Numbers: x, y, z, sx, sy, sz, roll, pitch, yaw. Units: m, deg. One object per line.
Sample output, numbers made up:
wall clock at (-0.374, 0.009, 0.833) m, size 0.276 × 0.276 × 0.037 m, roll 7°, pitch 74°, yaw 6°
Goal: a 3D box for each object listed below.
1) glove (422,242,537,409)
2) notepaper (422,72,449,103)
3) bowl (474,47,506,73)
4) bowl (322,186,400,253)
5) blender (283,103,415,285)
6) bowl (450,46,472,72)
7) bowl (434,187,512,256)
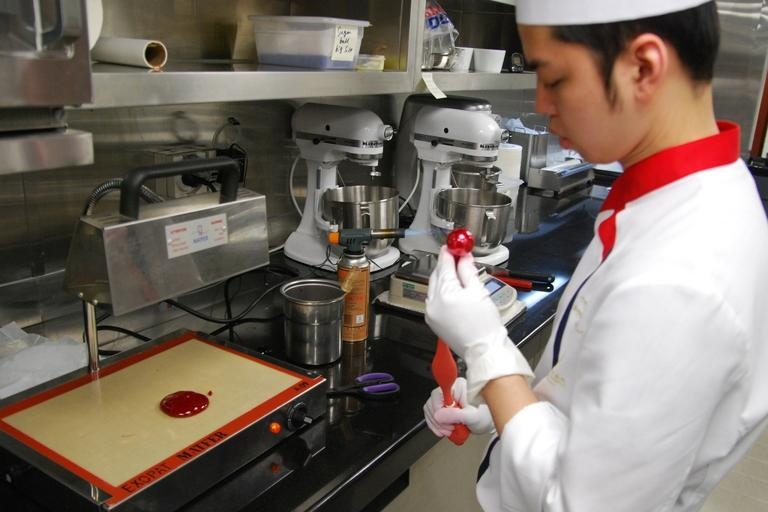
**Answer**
glove at (0.138, 0.106, 0.885) m, size 0.179 × 0.215 × 0.214 m, roll 9°, pitch 19°, yaw 13°
notepaper at (0.179, -0.598, 1.759) m, size 0.062 × 0.117 × 0.020 m, roll -14°, pitch -5°, yaw -39°
bowl at (0.454, -0.846, 2.176) m, size 0.153 × 0.096 × 0.136 m, roll -9°, pitch 28°, yaw -24°
bowl at (-0.078, -0.202, 1.893) m, size 0.325 × 0.243 × 0.286 m, roll 19°, pitch 24°, yaw 30°
blender at (-0.155, -0.265, 1.869) m, size 0.440 × 0.559 × 0.330 m, roll 10°, pitch 20°, yaw 26°
bowl at (0.304, -0.828, 2.125) m, size 0.122 × 0.101 × 0.135 m, roll 1°, pitch 28°, yaw -2°
bowl at (0.313, -0.182, 1.980) m, size 0.316 × 0.276 × 0.325 m, roll 3°, pitch 22°, yaw -1°
